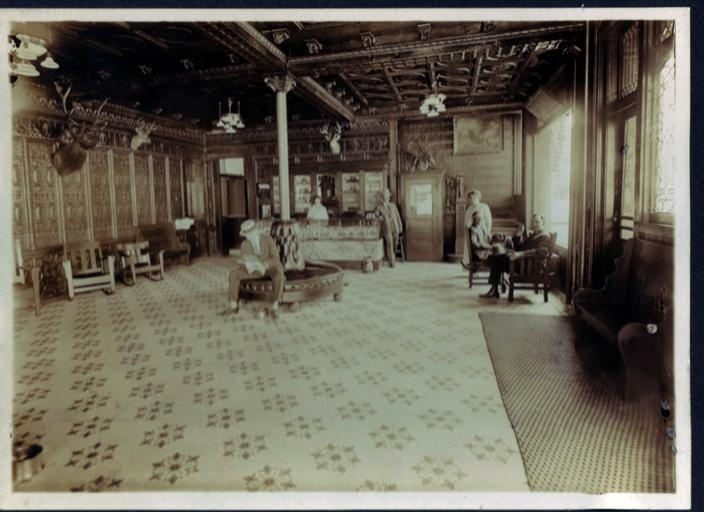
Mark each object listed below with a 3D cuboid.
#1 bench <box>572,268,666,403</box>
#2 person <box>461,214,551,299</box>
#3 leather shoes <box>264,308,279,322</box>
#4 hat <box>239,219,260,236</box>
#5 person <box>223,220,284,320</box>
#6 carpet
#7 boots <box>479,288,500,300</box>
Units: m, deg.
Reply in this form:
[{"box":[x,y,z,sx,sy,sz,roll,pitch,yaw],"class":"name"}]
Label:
[{"box":[3.248,0.987,5.957,0.408,0.874,1.251,2,14,8],"class":"bench"},{"box":[2.853,0.204,8.860,0.811,1.097,0.666,23,30,37],"class":"person"},{"box":[-1.308,0.892,8.075,0.260,0.146,0.559,-3,12,-11],"class":"leather shoes"},{"box":[-1.688,-0.449,8.092,0.239,0.239,0.172,-5,12,-23],"class":"hat"},{"box":[-1.614,0.158,8.249,0.953,1.494,0.945,-3,11,-15],"class":"person"},{"box":[2.618,1.799,5.515,1.111,0.041,2.493,-2,18,3],"class":"carpet"},{"box":[2.417,0.681,8.911,0.472,0.212,0.156,2,1,23],"class":"boots"}]
